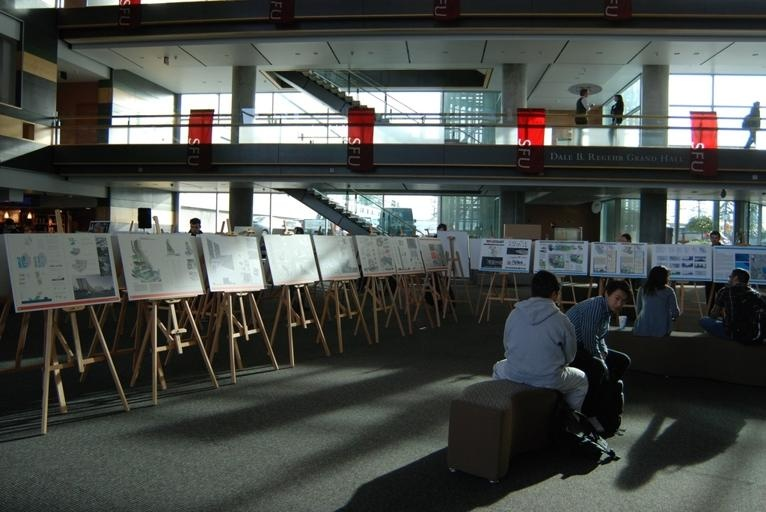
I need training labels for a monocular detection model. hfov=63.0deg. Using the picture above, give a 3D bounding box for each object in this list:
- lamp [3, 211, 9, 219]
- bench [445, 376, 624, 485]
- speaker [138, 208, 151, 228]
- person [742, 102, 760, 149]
[{"bbox_3d":[-13.880,-1.513,23.089,0.205,0.204,0.138,-7,5,-41],"label":"lamp"},{"bbox_3d":[1.919,2.408,9.310,0.899,0.924,2.715,2,-3,33],"label":"bench"},{"bbox_3d":[-6.686,-1.050,17.621,0.304,0.566,0.529,-5,4,-26],"label":"speaker"},{"bbox_3d":[10.725,-3.779,18.158,0.576,1.349,0.199,-4,4,-10],"label":"person"}]
